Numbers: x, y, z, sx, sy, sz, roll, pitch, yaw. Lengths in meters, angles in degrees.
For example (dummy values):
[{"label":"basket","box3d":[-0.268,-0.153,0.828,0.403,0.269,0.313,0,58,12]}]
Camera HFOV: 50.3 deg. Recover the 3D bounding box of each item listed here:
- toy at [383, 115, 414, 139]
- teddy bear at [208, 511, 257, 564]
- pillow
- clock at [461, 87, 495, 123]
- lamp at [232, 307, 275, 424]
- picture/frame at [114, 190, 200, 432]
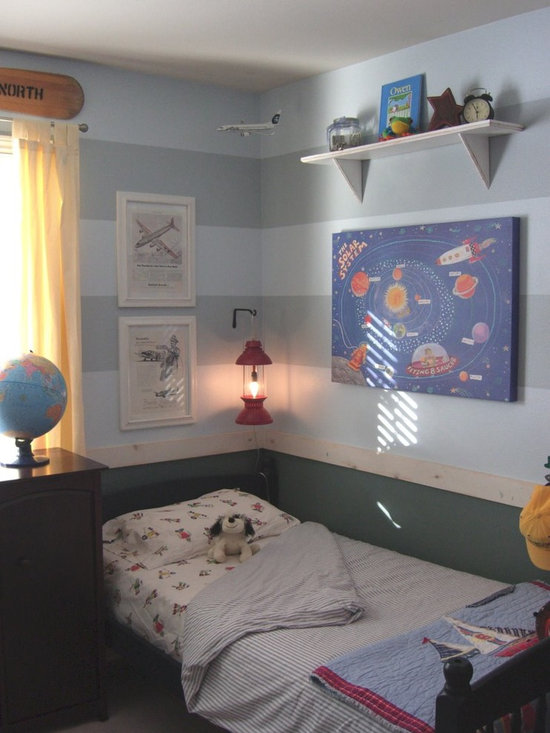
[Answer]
[{"label":"toy","box3d":[0.515,-0.975,2.398,0.089,0.057,0.125,-9,17,2]},{"label":"teddy bear","box3d":[-0.192,0.772,2.657,0.237,0.197,0.233,-2,-15,2]},{"label":"pillow","box3d":[-0.362,0.723,2.706,0.552,0.106,0.334,-7,8,-37]},{"label":"clock","box3d":[0.751,-0.967,2.167,0.112,0.125,0.111,-4,1,20]},{"label":"lamp","box3d":[-0.125,0.008,3.269,0.212,0.663,0.402,-4,1,0]},{"label":"picture/frame","box3d":[-0.600,-0.283,3.010,0.449,1.237,0.131,-5,1,-42]}]
